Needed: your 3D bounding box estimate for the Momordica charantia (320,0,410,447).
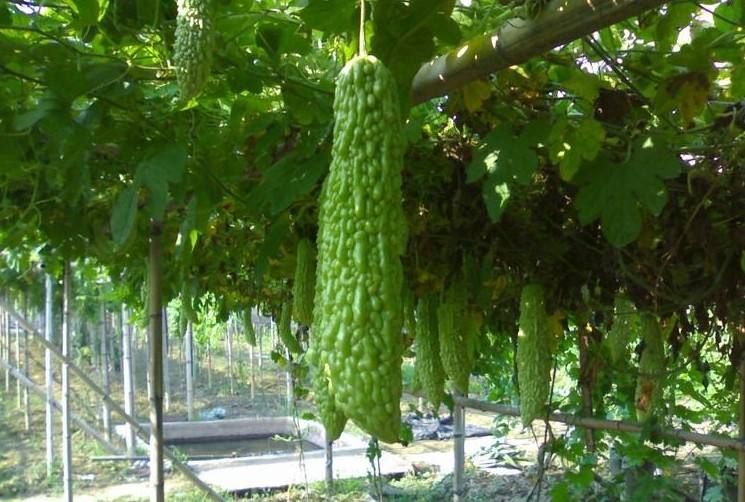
[{"bbox_3d":[-0.036,-0.060,1.532,0.206,0.874,0.149,-3,-8,-3],"label":"Momordica charantia"}]
